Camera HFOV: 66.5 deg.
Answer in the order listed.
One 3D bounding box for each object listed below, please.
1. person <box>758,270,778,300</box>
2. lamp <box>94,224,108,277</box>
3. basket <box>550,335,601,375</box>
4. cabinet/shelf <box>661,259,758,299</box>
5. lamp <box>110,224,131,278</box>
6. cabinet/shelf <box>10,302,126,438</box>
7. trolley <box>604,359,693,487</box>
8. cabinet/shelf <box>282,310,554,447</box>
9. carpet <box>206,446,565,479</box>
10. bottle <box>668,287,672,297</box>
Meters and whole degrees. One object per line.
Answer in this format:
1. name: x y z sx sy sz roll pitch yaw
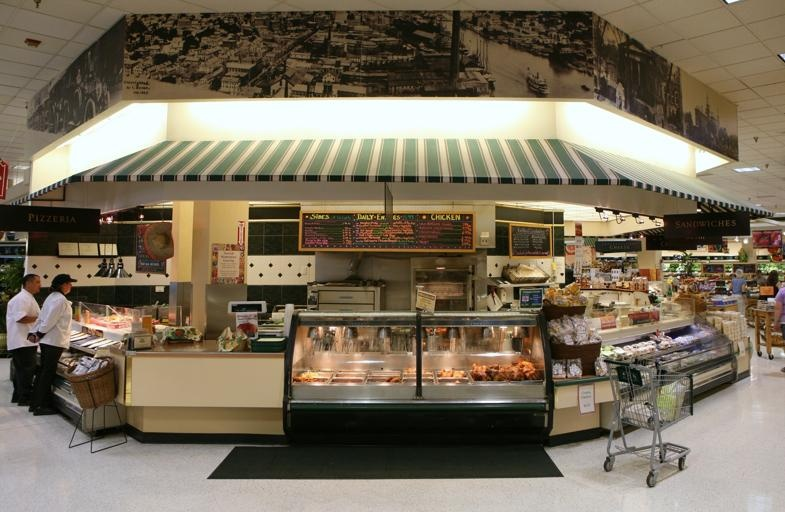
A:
1. person: 9.858 0.790 15.734 0.242 0.876 0.465 1 -5 -11
2. lamp: -5.925 0.041 12.264 0.185 0.762 2.837 3 -2 -26
3. basket: 2.711 1.534 8.904 0.668 0.380 0.497 0 -7 3
4. cabinet/shelf: 12.369 0.911 22.279 1.003 0.967 2.890 15 -11 -21
5. lamp: -6.217 -0.101 14.099 0.423 1.183 0.459 2 8 -41
6. cabinet/shelf: -5.336 1.620 10.009 1.236 2.019 2.752 5 -2 -40
7. trolley: 3.578 2.290 8.390 1.085 1.586 1.092 0 -3 26
8. cabinet/shelf: 0.329 1.748 8.889 3.741 1.711 1.276 0 5 1
9. carpet: -0.081 2.894 8.319 4.546 0.328 0.718 1 -2 1
10. bottle: 5.757 0.770 12.457 0.110 0.143 0.044 4 -8 3
